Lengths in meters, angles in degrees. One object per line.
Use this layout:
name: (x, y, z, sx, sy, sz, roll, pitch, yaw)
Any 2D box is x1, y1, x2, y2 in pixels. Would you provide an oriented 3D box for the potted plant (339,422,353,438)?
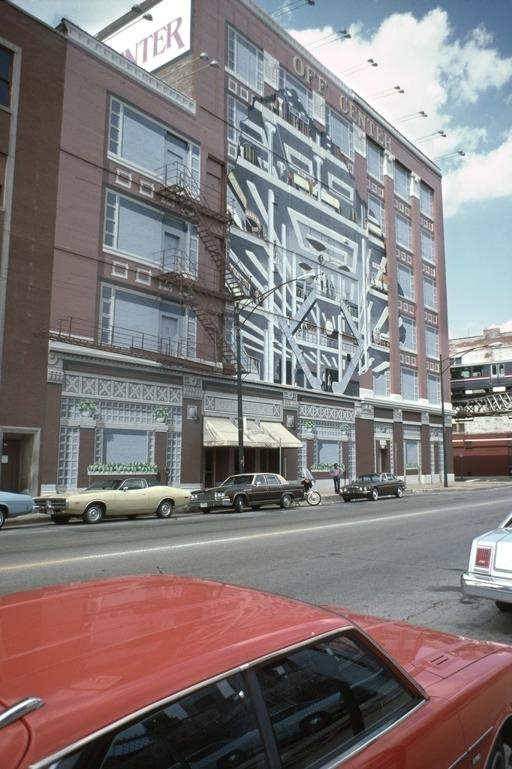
potted plant: (6.121, 3.131, 39.585, 0.960, 1.623, 0.989, 1, -10, -1)

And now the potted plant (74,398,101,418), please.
potted plant: (-6.799, 0.987, 23.542, 0.705, 0.766, 0.678, -1, -3, -7)

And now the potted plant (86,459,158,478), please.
potted plant: (-5.657, 3.658, 24.713, 3.690, 0.854, 0.729, 0, -7, -43)

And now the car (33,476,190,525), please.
car: (-4.712, 3.875, 18.974, 1.608, 1.134, 3.842, -13, -20, 39)

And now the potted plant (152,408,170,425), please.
potted plant: (-4.270, 1.463, 26.654, 0.715, 0.758, 0.541, -2, 0, -36)

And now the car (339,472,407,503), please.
car: (6.142, 5.369, 30.299, 3.909, 1.264, 1.400, 3, -8, -34)
